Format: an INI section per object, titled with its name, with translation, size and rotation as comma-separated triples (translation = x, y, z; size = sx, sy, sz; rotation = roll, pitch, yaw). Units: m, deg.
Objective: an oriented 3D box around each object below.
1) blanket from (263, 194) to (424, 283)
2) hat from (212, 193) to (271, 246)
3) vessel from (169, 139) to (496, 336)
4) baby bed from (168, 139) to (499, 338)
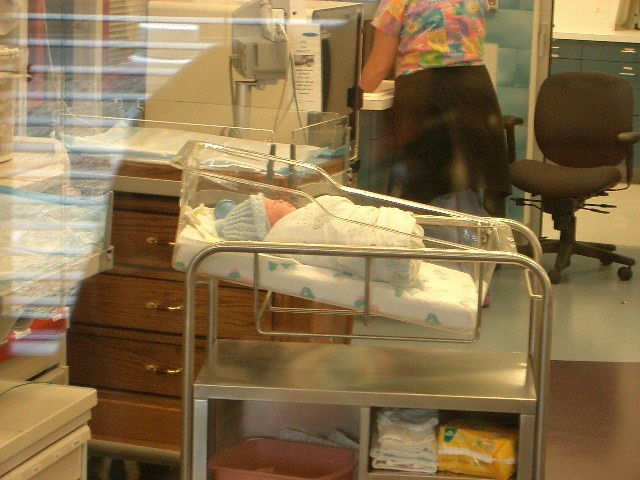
[blanket]
translation = 0.053, -0.021, 1.441
size = 0.302, 0.087, 0.196
rotation = 13, 32, 10
[hat]
translation = -0.179, -0.044, 1.537
size = 0.141, 0.096, 0.108
rotation = 5, -2, 7
[vessel]
translation = -0.046, 0.063, 1.522
size = 0.784, 0.235, 0.447
rotation = 11, 29, -1
[baby bed]
translation = -0.010, -0.004, 1.482
size = 0.879, 0.267, 0.401
rotation = 10, 32, 0
